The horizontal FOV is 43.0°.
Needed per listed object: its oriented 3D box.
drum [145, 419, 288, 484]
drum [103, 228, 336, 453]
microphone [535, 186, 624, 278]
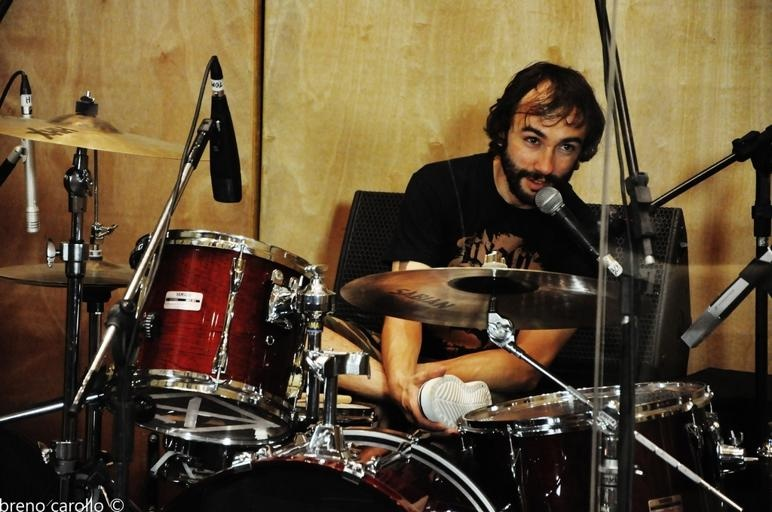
[{"bbox_3d":[-0.464,0.514,2.563,0.239,0.078,0.225,19,-17,6],"label":"drum"},{"bbox_3d":[-0.409,0.231,2.609,0.562,0.497,0.555,12,-24,0],"label":"drum"},{"bbox_3d":[0.385,-0.067,2.029,0.065,0.062,0.226,3,26,-41],"label":"microphone"}]
